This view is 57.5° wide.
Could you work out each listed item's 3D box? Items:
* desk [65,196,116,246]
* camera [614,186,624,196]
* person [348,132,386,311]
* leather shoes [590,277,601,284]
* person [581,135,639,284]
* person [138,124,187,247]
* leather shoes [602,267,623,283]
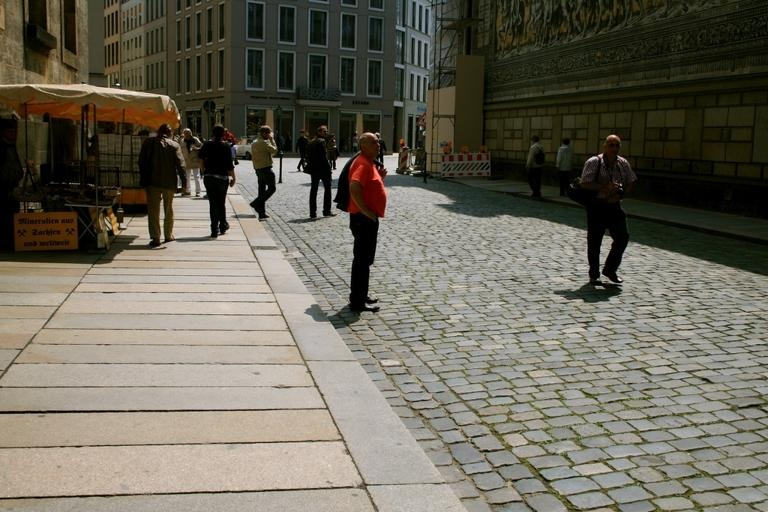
[{"bbox_3d":[-4.756,-0.740,11.466,0.694,0.341,1.537,-4,23,-19],"label":"desk"},{"bbox_3d":[3.451,-0.942,10.237,0.109,0.047,0.143,-16,29,-42],"label":"camera"},{"bbox_3d":[-0.229,-0.405,8.557,0.455,2.137,0.648,2,15,-2],"label":"person"},{"bbox_3d":[3.072,0.380,10.129,0.104,0.073,0.142,4,1,39],"label":"leather shoes"},{"bbox_3d":[3.227,-0.674,10.272,0.793,2.129,0.917,7,15,16],"label":"person"},{"bbox_3d":[-3.863,-1.219,12.239,0.769,2.084,1.146,-1,15,-15],"label":"person"},{"bbox_3d":[3.372,0.283,10.313,0.300,0.214,0.339,7,14,18],"label":"leather shoes"}]
